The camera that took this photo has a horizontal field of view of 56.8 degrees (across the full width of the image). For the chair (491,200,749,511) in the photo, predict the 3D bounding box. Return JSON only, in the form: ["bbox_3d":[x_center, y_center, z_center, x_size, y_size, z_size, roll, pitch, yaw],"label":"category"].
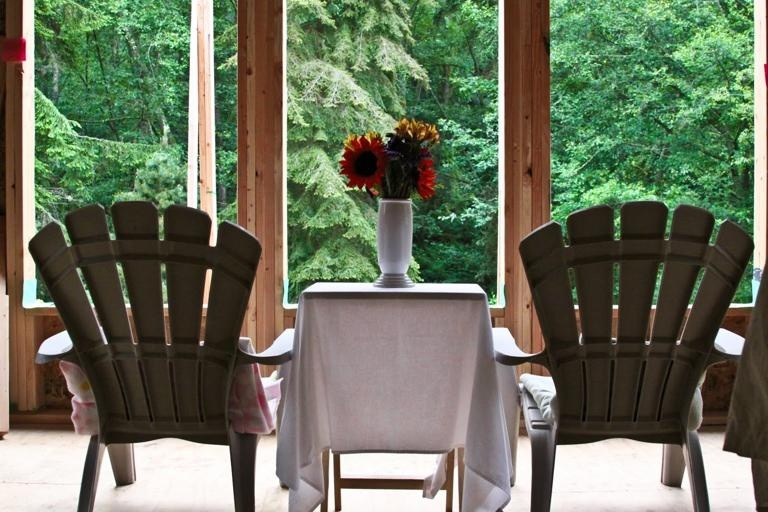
[{"bbox_3d":[1.004,0.410,3.668,1.200,1.737,1.225,0,-2,0],"label":"chair"}]

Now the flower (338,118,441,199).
[{"bbox_3d":[0.106,-0.459,3.473,0.440,0.369,0.465,17,7,-11],"label":"flower"}]

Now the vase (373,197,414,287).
[{"bbox_3d":[0.048,-0.066,3.423,0.180,0.407,0.228,0,8,-2],"label":"vase"}]

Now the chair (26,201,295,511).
[{"bbox_3d":[-1.003,0.486,3.665,1.169,1.782,1.248,0,-4,-1],"label":"chair"}]
